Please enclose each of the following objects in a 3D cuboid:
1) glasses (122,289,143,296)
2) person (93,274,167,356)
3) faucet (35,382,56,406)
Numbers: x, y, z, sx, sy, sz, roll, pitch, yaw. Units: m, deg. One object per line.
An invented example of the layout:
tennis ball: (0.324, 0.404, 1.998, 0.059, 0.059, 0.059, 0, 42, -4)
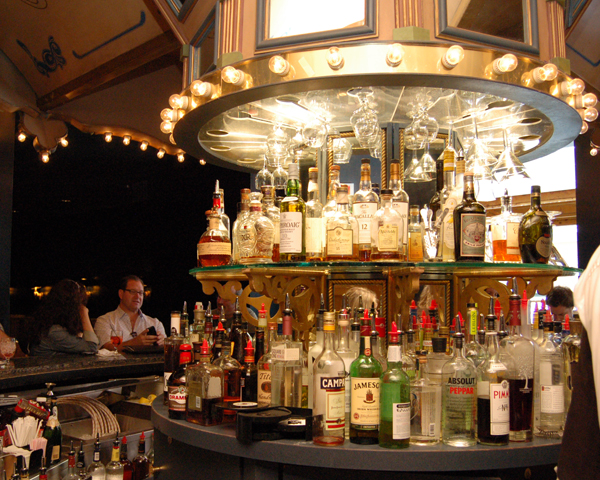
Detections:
glasses: (-1.704, 0.539, 5.806, 0.192, 0.066, 0.097, 7, -10, -35)
person: (-1.745, 0.797, 5.935, 0.785, 0.863, 0.754, 1, -6, 44)
faucet: (-1.398, 0.870, 3.173, 0.115, 0.119, 0.118, 4, 2, 34)
